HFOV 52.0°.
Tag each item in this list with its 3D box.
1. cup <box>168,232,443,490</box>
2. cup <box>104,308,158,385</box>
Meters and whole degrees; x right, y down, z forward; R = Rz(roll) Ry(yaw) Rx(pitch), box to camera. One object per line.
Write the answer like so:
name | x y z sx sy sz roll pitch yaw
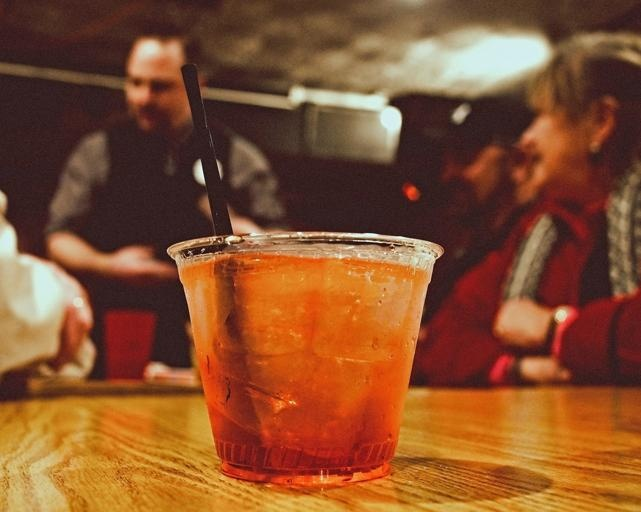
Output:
cup | -0.016 0.154 1.081 0.425 0.303 0.407 -1 -11 0
cup | -0.873 0.434 3.017 0.245 0.233 0.380 1 51 -8
